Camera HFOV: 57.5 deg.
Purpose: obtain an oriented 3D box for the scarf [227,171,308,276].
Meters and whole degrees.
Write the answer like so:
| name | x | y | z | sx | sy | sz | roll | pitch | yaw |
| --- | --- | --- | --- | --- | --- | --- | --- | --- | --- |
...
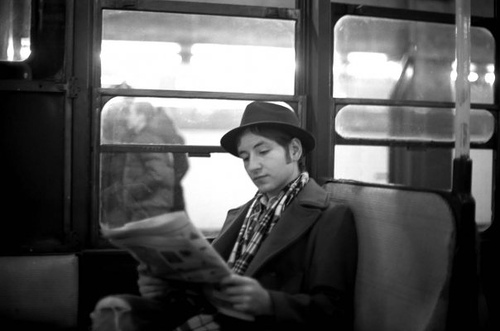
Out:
| name | x | y | z | sx | sy | sz | roll | pitch | yaw |
| --- | --- | --- | --- | --- | --- | --- | --- | --- | --- |
| scarf | 0.122 | 0.325 | 2.665 | 0.149 | 0.638 | 0.361 | 36 | -10 | -37 |

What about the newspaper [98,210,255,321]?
| name | x | y | z | sx | sy | sz | roll | pitch | yaw |
| --- | --- | --- | --- | --- | --- | --- | --- | --- | --- |
| newspaper | -0.359 | 0.428 | 2.273 | 0.588 | 0.556 | 0.841 | 2 | 1 | -18 |
